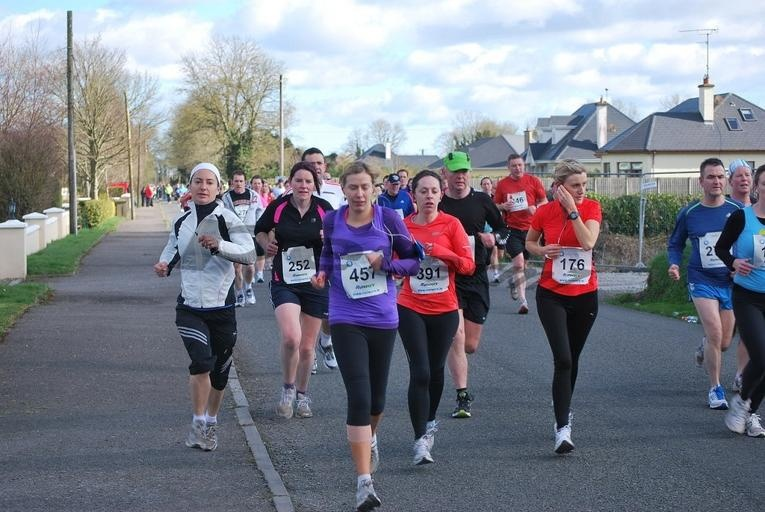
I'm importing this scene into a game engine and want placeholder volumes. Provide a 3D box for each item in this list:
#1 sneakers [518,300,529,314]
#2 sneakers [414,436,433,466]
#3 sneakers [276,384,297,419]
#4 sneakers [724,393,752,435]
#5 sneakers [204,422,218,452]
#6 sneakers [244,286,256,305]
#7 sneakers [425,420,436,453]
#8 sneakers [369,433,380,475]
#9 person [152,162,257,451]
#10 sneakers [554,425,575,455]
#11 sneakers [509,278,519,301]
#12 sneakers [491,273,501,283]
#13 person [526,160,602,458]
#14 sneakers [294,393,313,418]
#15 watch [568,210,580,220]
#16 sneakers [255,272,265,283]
[{"bbox_3d":[2.614,0.952,14.331,0.121,0.165,0.340,1,1,2],"label":"sneakers"},{"bbox_3d":[0.353,1.717,6.738,0.117,0.162,0.332,-2,-6,0],"label":"sneakers"},{"bbox_3d":[-1.019,1.508,8.213,0.150,0.198,0.476,5,25,4],"label":"sneakers"},{"bbox_3d":[3.474,1.542,7.566,0.214,0.376,0.177,2,8,24],"label":"sneakers"},{"bbox_3d":[-1.604,1.663,7.241,0.094,0.244,0.243,-2,8,-2],"label":"sneakers"},{"bbox_3d":[-2.587,0.776,15.025,0.138,0.406,0.154,-13,0,3],"label":"sneakers"},{"bbox_3d":[0.462,1.601,7.052,0.101,0.324,0.133,0,-40,8],"label":"sneakers"},{"bbox_3d":[-0.068,1.730,6.694,0.099,0.308,0.129,-2,13,6],"label":"sneakers"},{"bbox_3d":[-1.643,0.456,7.256,0.894,2.628,0.658,-3,7,-10],"label":"person"},{"bbox_3d":[1.645,1.676,7.004,0.127,0.171,0.360,-3,-5,2],"label":"sneakers"},{"bbox_3d":[2.693,0.697,15.883,0.157,0.504,0.206,-9,-18,6],"label":"sneakers"},{"bbox_3d":[2.748,0.534,18.528,0.175,0.295,0.290,1,1,-7],"label":"sneakers"},{"bbox_3d":[1.686,0.454,7.250,0.687,2.658,0.870,0,7,13],"label":"person"},{"bbox_3d":[-0.840,1.589,8.184,0.117,0.145,0.310,1,3,-16],"label":"sneakers"},{"bbox_3d":[1.799,-0.390,7.253,0.086,0.062,0.087,-3,4,5],"label":"watch"},{"bbox_3d":[-2.870,0.502,17.916,0.160,0.212,0.482,-3,-9,-2],"label":"sneakers"}]
